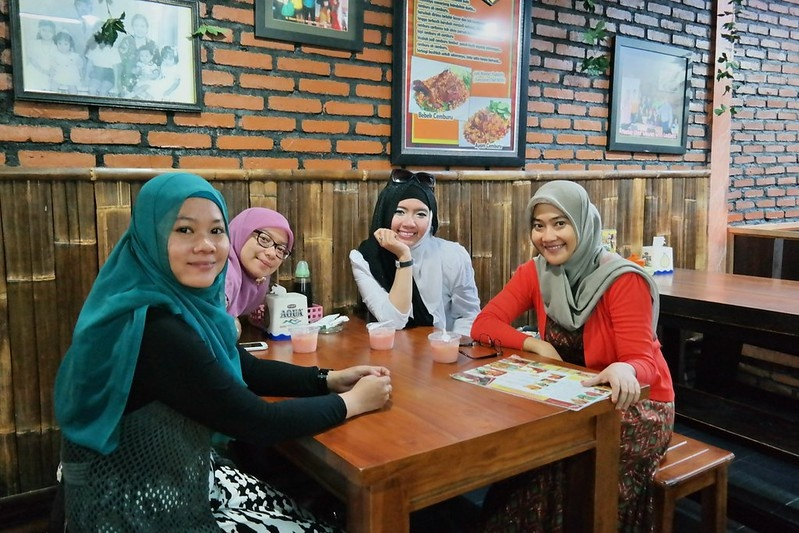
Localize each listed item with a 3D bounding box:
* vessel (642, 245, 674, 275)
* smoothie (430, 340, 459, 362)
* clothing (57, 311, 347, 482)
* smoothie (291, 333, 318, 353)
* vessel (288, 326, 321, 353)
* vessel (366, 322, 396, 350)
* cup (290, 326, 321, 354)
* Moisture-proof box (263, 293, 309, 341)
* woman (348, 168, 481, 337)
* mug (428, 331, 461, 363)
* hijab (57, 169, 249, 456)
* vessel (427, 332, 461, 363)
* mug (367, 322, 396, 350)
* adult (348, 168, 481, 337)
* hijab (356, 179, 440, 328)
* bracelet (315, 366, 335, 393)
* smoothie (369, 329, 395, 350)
[{"bbox_3d":[1.745,-0.040,3.880,0.189,0.195,0.187,2,-4,-23],"label":"vessel"},{"bbox_3d":[0.181,0.343,2.275,0.094,0.062,0.092,-3,3,-43],"label":"smoothie"},{"bbox_3d":[-0.571,0.319,2.004,0.871,0.428,0.535,0,8,-20],"label":"clothing"},{"bbox_3d":[-0.406,0.324,2.395,0.089,0.062,0.089,0,-3,-4],"label":"smoothie"},{"bbox_3d":[-0.406,0.306,2.400,0.109,0.081,0.111,0,1,36],"label":"vessel"},{"bbox_3d":[-0.080,0.302,2.477,0.103,0.079,0.108,-1,0,0],"label":"vessel"},{"bbox_3d":[-0.401,0.305,2.405,0.111,0.081,0.109,-1,0,0],"label":"cup"},{"bbox_3d":[-0.547,0.230,2.684,0.206,0.198,0.167,-1,3,-32],"label":"Moisture-proof box"},{"bbox_3d":[0.097,0.015,3.207,0.736,1.043,0.661,-3,21,-2],"label":"woman"},{"bbox_3d":[0.194,0.320,2.343,0.127,0.096,0.124,-6,9,-44],"label":"mug"},{"bbox_3d":[-0.828,0.165,2.011,0.551,0.898,0.685,-6,-7,28],"label":"hijab"},{"bbox_3d":[0.184,0.327,2.333,0.126,0.095,0.123,-6,9,-43],"label":"vessel"},{"bbox_3d":[-0.085,0.307,2.476,0.103,0.078,0.107,-1,0,-1],"label":"mug"},{"bbox_3d":[0.110,0.016,3.205,0.712,1.054,0.671,-3,19,-2],"label":"adult"},{"bbox_3d":[0.053,-0.072,3.199,0.457,1.005,0.400,7,-34,-9],"label":"hijab"},{"bbox_3d":[-0.278,0.417,2.096,0.035,0.084,0.062,-3,7,-10],"label":"bracelet"},{"bbox_3d":[-0.078,0.312,2.414,0.092,0.064,0.092,0,-1,9],"label":"smoothie"}]
